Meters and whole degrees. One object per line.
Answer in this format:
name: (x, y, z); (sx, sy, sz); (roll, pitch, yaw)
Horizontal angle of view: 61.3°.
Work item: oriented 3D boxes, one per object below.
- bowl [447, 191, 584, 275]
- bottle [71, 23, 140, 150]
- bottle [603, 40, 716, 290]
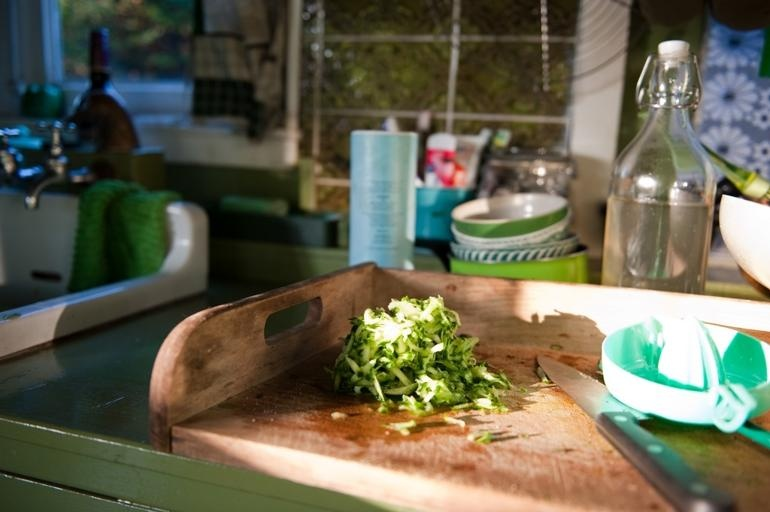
bowl: (0.232, -0.033, 1.105); (0.211, 0.136, 0.163); (8, 14, 32)
bottle: (-0.542, -0.317, 1.252); (0.107, 0.230, 0.094); (3, 13, 8)
bottle: (0.414, -0.130, 0.968); (0.145, 0.364, 0.124); (9, 15, 31)
